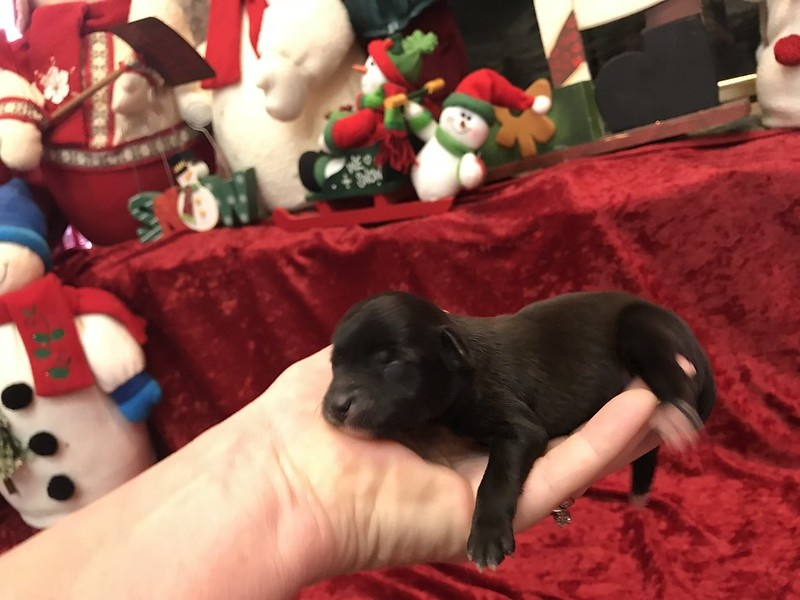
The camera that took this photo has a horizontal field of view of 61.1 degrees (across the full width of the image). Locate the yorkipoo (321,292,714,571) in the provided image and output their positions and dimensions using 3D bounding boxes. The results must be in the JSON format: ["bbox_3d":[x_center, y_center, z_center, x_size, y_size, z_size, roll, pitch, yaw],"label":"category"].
[{"bbox_3d":[0.178,0.100,1.000,0.473,0.236,0.404,-10,7,-16],"label":"yorkipoo"}]
